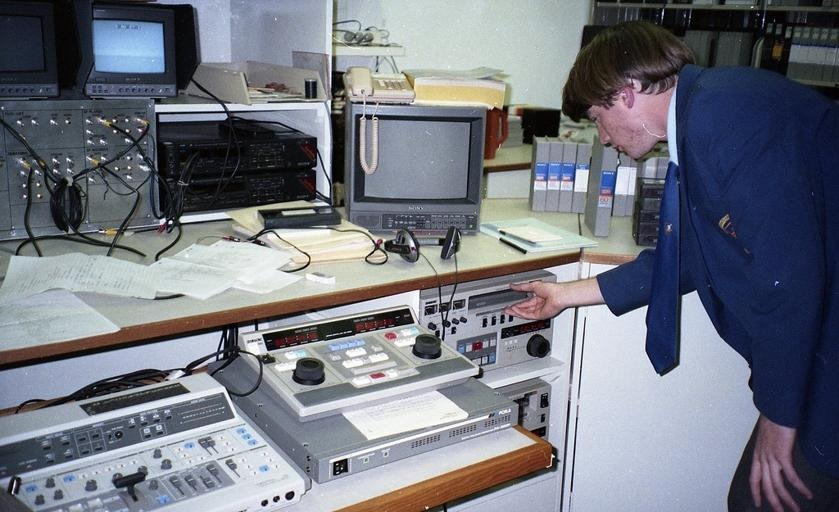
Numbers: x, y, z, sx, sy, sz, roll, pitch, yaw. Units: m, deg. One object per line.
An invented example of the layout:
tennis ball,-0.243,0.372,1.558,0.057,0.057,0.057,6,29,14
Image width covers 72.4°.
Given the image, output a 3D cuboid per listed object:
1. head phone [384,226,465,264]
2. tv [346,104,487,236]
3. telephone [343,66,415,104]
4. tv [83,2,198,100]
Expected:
head phone,0.009,-0.059,2.285,0.320,0.136,0.347,-6,9,-41
tv,0.045,-0.392,2.606,0.698,0.639,0.540,0,19,-4
telephone,-0.166,-0.713,2.390,0.280,0.159,0.239,-6,17,-6
tv,-1.137,-0.766,2.405,0.509,0.446,0.385,-8,18,-33
